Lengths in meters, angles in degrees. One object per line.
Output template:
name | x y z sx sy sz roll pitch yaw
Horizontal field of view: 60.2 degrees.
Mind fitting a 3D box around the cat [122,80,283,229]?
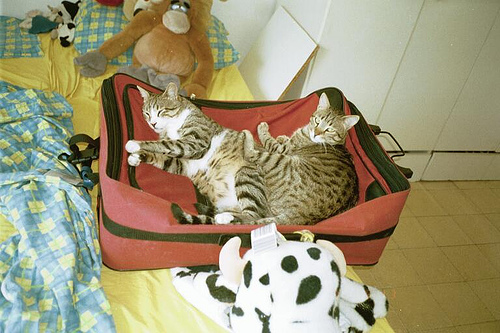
cat | -0.284 -0.049 2.393 0.917 0.292 0.625 40 43 -5

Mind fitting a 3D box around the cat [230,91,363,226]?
cat | 0.295 0.097 2.577 0.614 0.292 0.807 10 56 -2

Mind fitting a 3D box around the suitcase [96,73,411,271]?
suitcase | -0.040 0.156 2.431 1.529 0.570 1.152 1 57 -13

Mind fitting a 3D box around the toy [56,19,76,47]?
toy | -1.328 -0.959 3.159 0.154 0.180 0.070 -6 -11 19
